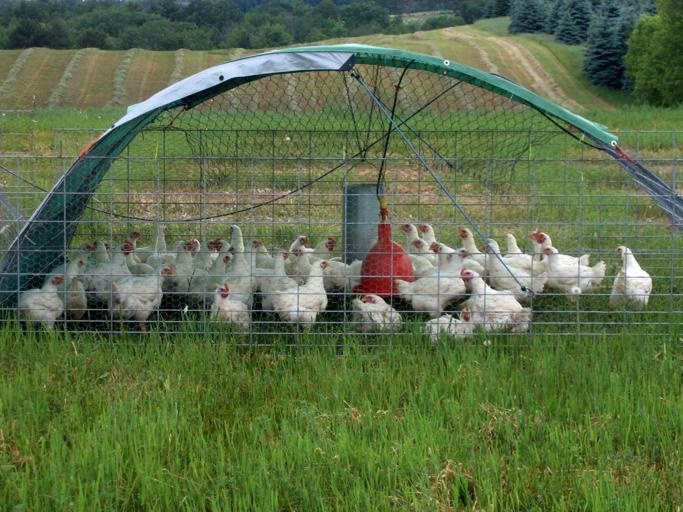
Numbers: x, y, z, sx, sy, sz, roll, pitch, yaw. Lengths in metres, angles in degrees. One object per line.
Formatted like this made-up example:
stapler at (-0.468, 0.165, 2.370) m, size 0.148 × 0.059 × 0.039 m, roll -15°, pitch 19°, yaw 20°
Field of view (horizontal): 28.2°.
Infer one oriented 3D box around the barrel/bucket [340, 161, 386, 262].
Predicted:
barrel/bucket at (0.529, -1.264, 40.908) m, size 1.033 × 2.669 × 0.949 m, roll -1°, pitch 15°, yaw 0°
